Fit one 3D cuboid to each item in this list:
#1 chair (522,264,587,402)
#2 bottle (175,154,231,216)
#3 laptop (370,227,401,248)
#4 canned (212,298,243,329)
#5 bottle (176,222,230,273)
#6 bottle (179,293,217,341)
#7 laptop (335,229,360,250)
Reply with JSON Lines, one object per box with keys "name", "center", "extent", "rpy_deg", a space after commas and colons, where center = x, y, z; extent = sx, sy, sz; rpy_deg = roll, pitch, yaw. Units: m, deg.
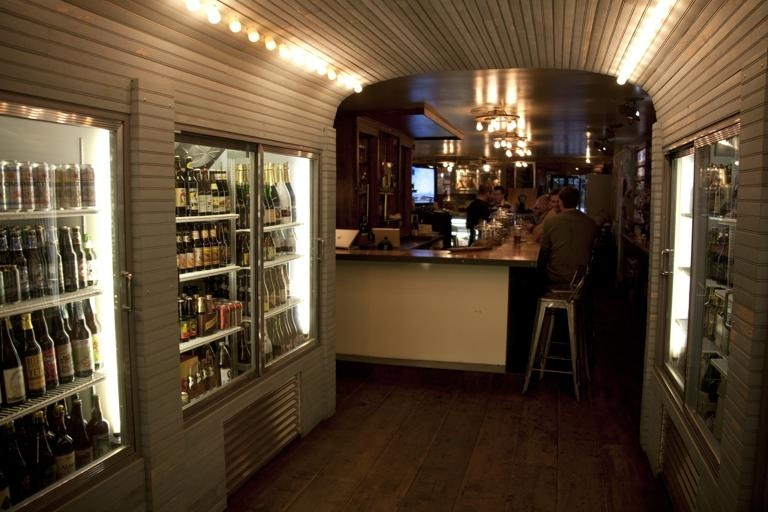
{"name": "chair", "center": [1.870, 0.742, 5.786], "extent": [0.650, 1.213, 1.164], "rpy_deg": [3, 10, 20]}
{"name": "bottle", "center": [-1.281, -0.485, 3.745], "extent": [0.104, 0.453, 0.469], "rpy_deg": [2, 5, 29]}
{"name": "laptop", "center": [0.025, -0.220, 6.548], "extent": [0.279, 0.217, 0.343], "rpy_deg": [-1, 10, -6]}
{"name": "canned", "center": [-1.158, 0.432, 3.998], "extent": [0.200, 0.192, 0.086], "rpy_deg": [-5, 10, -28]}
{"name": "bottle", "center": [-1.291, -0.057, 3.776], "extent": [0.093, 0.338, 0.349], "rpy_deg": [2, 4, 24]}
{"name": "bottle", "center": [-1.228, 0.427, 3.759], "extent": [0.179, 0.311, 0.298], "rpy_deg": [1, 0, 13]}
{"name": "laptop", "center": [-0.451, -0.199, 6.258], "extent": [0.231, 0.201, 0.226], "rpy_deg": [-2, 10, -10]}
